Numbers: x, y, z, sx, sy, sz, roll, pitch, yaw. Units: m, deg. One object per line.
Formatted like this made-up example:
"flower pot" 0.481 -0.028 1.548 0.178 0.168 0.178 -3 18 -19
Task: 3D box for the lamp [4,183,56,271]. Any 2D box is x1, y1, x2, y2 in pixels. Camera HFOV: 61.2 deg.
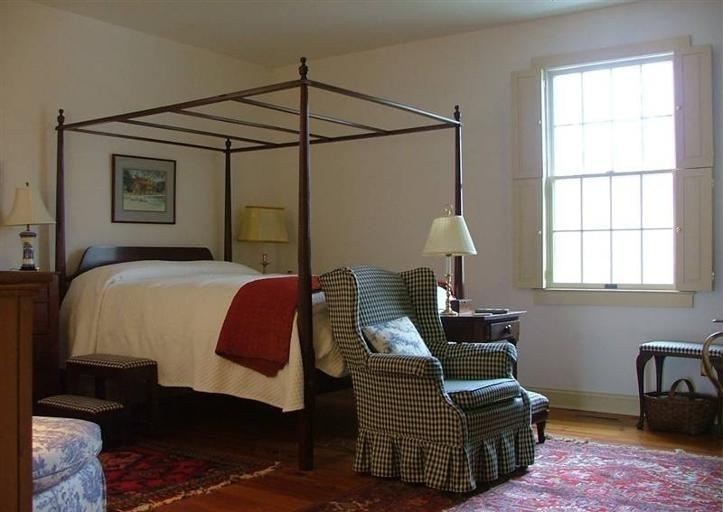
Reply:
"lamp" -2.832 -0.265 5.196 0.396 0.767 0.767 -2 4 -27

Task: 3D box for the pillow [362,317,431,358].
"pillow" 0.242 0.535 4.024 0.399 0.252 0.118 7 -38 -43

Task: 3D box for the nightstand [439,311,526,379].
"nightstand" 0.959 0.798 4.906 0.468 0.682 0.717 -1 -1 40

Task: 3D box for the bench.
"bench" 2.713 0.969 5.134 0.634 0.741 0.831 6 -9 -39

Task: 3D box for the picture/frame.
"picture/frame" -2.215 -0.673 6.236 0.616 0.726 0.027 0 30 -22

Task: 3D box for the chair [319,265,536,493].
"chair" 0.479 0.754 4.184 1.228 1.400 1.319 1 -5 -31

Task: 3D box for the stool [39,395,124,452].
"stool" -2.067 1.296 4.526 0.310 0.375 0.541 -9 -8 38

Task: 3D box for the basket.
"basket" 2.585 1.223 5.013 0.550 0.419 0.409 -9 -11 42
